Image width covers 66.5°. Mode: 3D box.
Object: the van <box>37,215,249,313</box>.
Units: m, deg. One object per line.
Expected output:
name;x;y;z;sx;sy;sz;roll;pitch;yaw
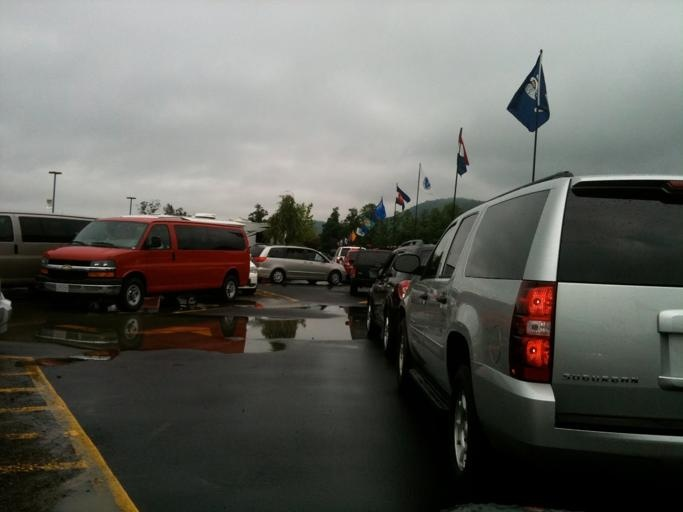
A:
van;-5.647;0.187;16.174;2.152;2.642;6.552;1;0;26

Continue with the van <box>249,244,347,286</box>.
van;-2.455;0.529;29.333;4.562;1.804;2.089;-1;2;-31

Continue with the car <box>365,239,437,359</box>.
car;1.088;0.855;9.915;0.898;1.130;2.109;0;2;-4

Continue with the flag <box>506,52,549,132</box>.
flag;7.431;-6.290;20.369;1.450;3.161;1.069;1;0;-10
